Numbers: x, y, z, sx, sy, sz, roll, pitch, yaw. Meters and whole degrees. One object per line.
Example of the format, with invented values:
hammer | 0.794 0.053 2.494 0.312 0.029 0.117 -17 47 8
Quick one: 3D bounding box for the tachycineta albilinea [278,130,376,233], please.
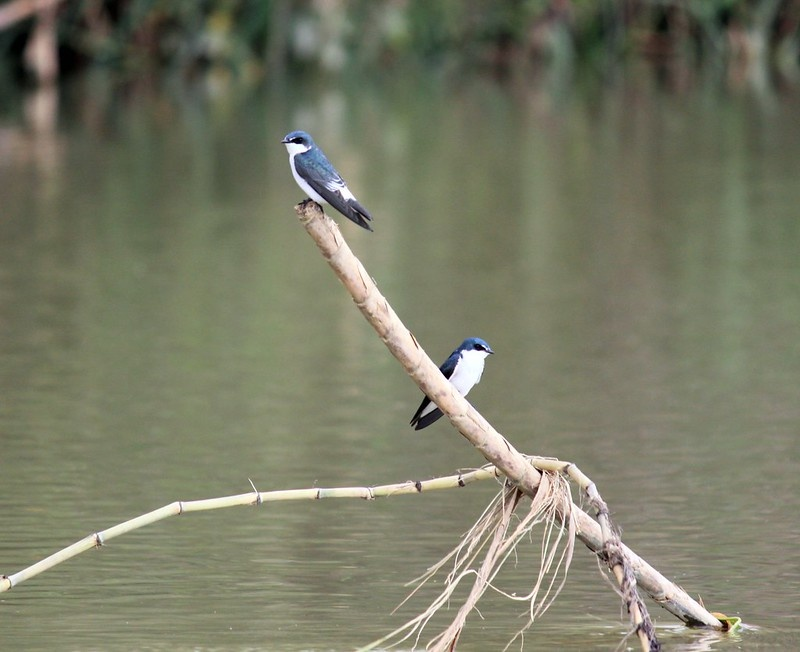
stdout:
tachycineta albilinea | -0.533 -1.113 9.780 0.829 0.298 0.518 17 103 16
